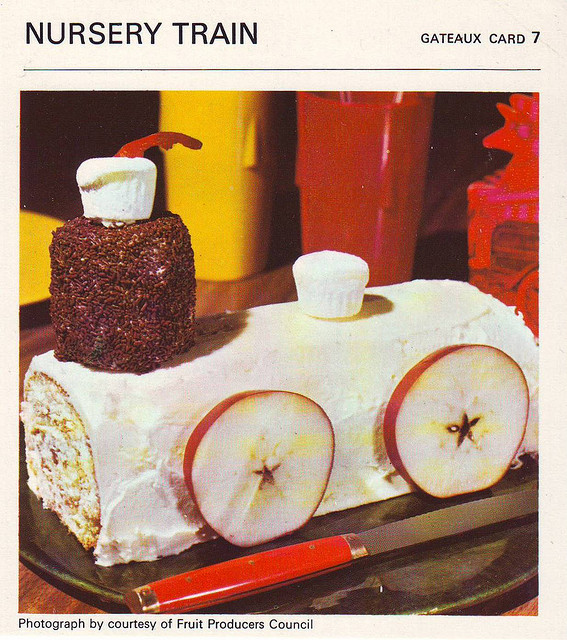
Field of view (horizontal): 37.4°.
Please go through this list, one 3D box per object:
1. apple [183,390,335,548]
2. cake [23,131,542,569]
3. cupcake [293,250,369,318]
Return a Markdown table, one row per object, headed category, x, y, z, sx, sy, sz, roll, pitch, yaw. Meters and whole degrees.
| category | x | y | z | sx | sy | sz | roll | pitch | yaw |
| --- | --- | --- | --- | --- | --- | --- | --- | --- | --- |
| apple | -0.035 | 0.152 | 1.019 | 0.189 | 0.178 | 0.115 | -38 | 22 | -16 |
| cake | 0.000 | -0.008 | 1.148 | 0.740 | 0.455 | 0.368 | -9 | 20 | -34 |
| cupcake | 0.058 | -0.043 | 1.089 | 0.120 | 0.074 | 0.094 | 0 | 20 | -1 |
